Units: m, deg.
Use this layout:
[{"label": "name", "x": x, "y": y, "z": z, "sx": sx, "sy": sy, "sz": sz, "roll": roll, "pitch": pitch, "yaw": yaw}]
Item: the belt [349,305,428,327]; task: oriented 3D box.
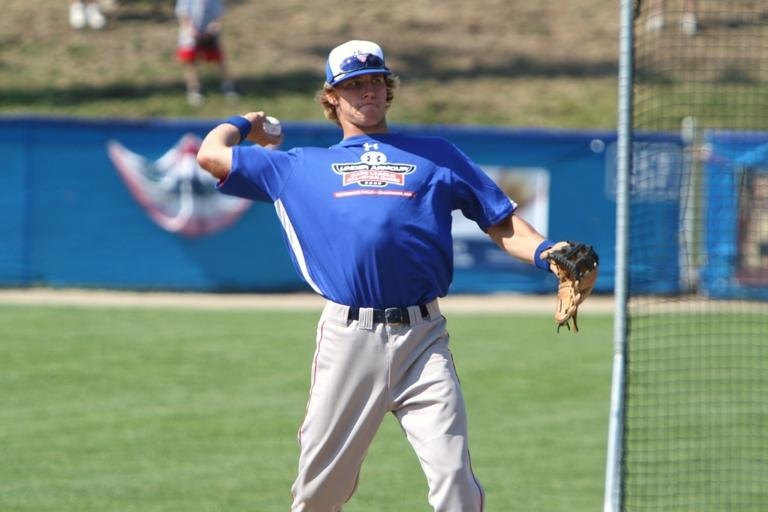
[{"label": "belt", "x": -0.080, "y": 0.638, "z": 20.628, "sx": 0.688, "sy": 0.186, "sz": 0.047, "roll": 0, "pitch": 3, "yaw": 1}]

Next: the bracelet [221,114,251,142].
[{"label": "bracelet", "x": -1.645, "y": -1.432, "z": 21.119, "sx": 0.278, "sy": 0.277, "sz": 0.200, "roll": -43, "pitch": -3, "yaw": 31}]
